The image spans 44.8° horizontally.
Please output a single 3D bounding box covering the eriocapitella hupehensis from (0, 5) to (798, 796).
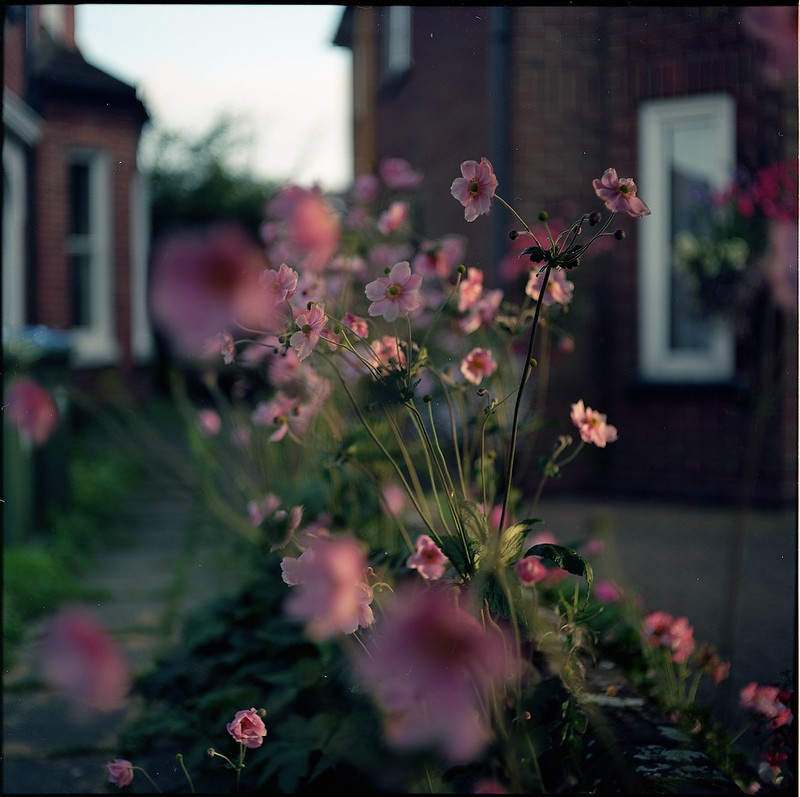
[{"bbox_3d":[0.022,-0.005,2.966,1.647,2.347,1.822,0,-13,6],"label":"eriocapitella hupehensis"}]

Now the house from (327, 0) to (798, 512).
[{"bbox_3d":[0.317,-0.402,3.156,1.021,2.058,1.490,0,1,-16],"label":"house"}]
